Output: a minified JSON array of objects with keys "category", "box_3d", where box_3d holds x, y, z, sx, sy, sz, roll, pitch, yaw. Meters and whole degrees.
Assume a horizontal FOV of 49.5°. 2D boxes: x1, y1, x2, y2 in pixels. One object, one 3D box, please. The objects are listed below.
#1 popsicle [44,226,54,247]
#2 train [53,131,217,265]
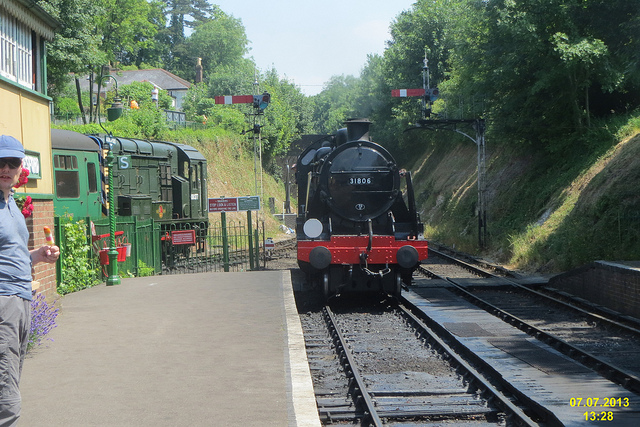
[{"category":"popsicle","box_3d":[-5.001,0.402,12.779,0.101,0.413,0.110,-12,-7,-13]},{"category":"train","box_3d":[-8.184,-0.618,27.797,3.432,5.058,12.047,-3,1,12]}]
